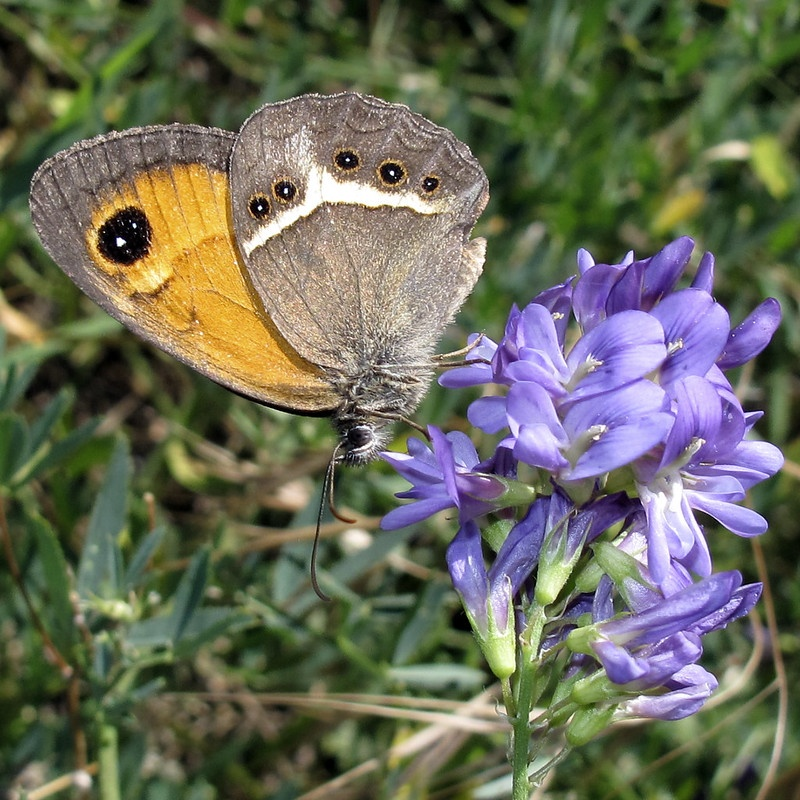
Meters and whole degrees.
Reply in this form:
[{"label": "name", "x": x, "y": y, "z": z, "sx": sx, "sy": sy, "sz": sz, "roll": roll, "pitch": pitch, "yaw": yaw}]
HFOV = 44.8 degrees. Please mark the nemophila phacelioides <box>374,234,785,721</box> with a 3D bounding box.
[{"label": "nemophila phacelioides", "x": 0.488, "y": 0.222, "z": 2.717, "sx": 1.247, "sy": 1.248, "sz": 1.206, "roll": 1, "pitch": -72, "yaw": -7}]
